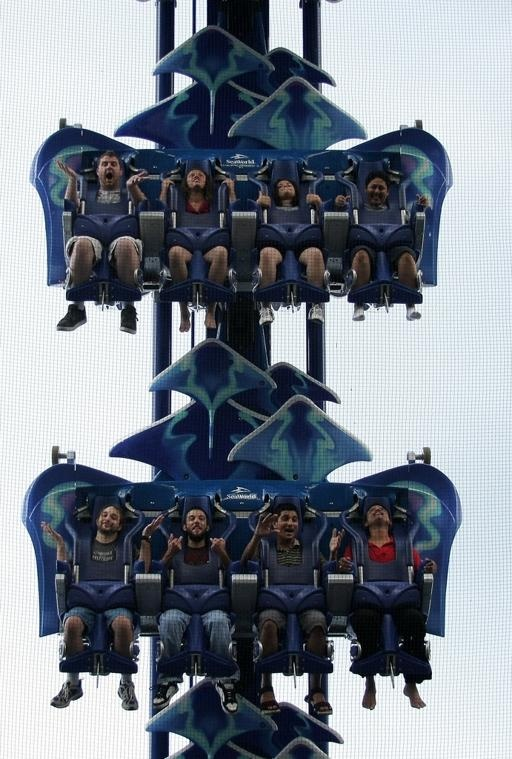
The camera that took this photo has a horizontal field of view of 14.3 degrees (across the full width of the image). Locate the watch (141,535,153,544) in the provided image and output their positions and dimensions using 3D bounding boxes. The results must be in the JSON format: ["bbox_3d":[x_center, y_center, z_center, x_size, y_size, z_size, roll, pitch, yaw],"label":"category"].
[{"bbox_3d":[-0.850,1.154,14.964,0.056,0.045,0.076,12,-27,-3],"label":"watch"}]

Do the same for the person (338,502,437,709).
[{"bbox_3d":[0.928,1.649,15.056,0.687,1.030,1.126,-3,-55,4],"label":"person"}]

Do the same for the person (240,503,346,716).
[{"bbox_3d":[0.180,1.616,15.004,0.689,1.077,1.324,1,-55,1],"label":"person"}]

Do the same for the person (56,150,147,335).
[{"bbox_3d":[-1.250,-1.169,15.719,0.690,1.360,0.892,6,-55,-2],"label":"person"}]

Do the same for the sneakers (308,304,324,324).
[{"bbox_3d":[0.410,-0.506,15.431,0.124,0.179,0.131,6,-92,1],"label":"sneakers"}]

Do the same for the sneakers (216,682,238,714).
[{"bbox_3d":[-0.239,2.329,15.149,0.108,0.303,0.119,-3,-34,-28],"label":"sneakers"}]

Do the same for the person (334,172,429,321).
[{"bbox_3d":[0.938,-1.098,15.760,0.697,1.334,0.744,-5,-55,5],"label":"person"}]

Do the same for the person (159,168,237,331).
[{"bbox_3d":[-0.492,-1.068,15.543,0.573,1.451,0.501,0,-19,-4],"label":"person"}]
